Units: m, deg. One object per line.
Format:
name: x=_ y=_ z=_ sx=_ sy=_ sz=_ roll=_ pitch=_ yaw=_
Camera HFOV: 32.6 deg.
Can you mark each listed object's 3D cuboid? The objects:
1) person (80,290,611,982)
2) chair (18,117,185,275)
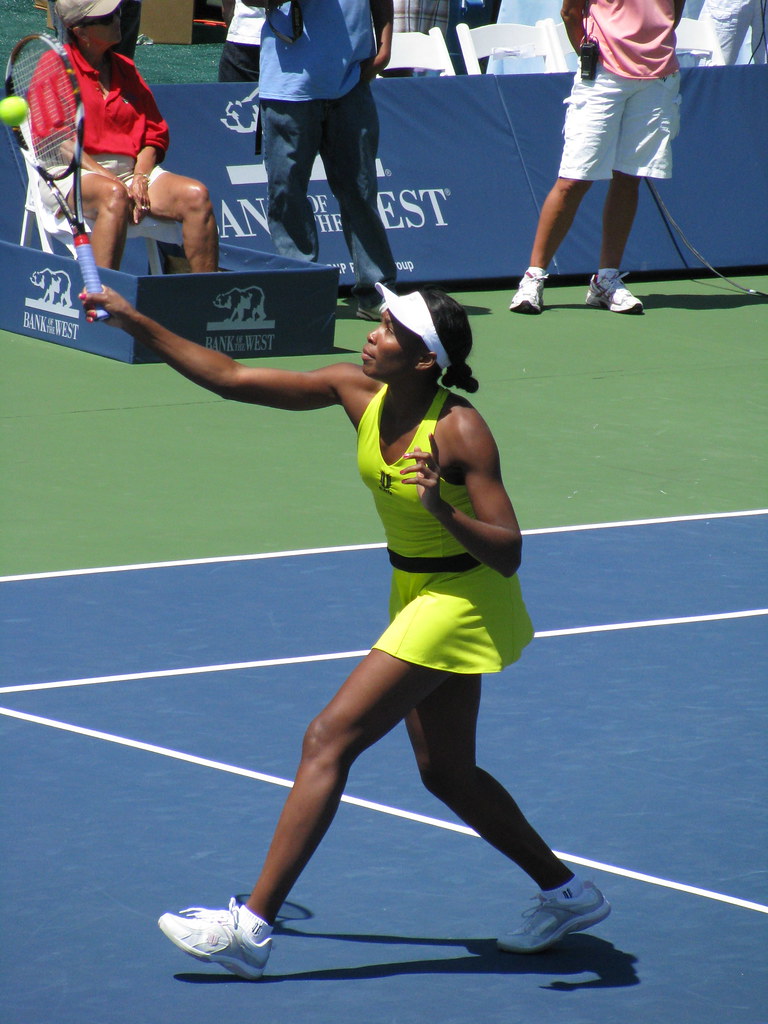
person: x=0.073 y=0.191 z=2.712 sx=0.849 sy=1.253 sz=1.024 roll=6 pitch=20 yaw=-14
chair: x=-1.599 y=-1.745 z=8.134 sx=0.598 sy=0.750 sz=0.623 roll=9 pitch=1 yaw=-29
